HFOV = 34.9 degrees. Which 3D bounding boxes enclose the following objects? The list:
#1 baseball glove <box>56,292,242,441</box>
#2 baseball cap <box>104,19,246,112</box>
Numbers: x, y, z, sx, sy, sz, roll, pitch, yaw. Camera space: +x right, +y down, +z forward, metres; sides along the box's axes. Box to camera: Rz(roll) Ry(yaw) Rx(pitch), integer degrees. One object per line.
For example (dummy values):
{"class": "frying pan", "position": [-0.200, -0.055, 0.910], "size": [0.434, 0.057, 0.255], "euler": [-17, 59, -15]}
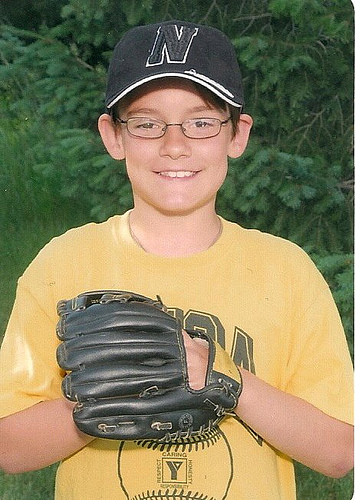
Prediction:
{"class": "baseball glove", "position": [-0.073, 0.284, 1.498], "size": [0.450, 0.314, 0.404], "euler": [-11, 58, -6]}
{"class": "baseball cap", "position": [0.002, -0.633, 1.912], "size": [0.513, 0.499, 0.237], "euler": [2, 98, 12]}
